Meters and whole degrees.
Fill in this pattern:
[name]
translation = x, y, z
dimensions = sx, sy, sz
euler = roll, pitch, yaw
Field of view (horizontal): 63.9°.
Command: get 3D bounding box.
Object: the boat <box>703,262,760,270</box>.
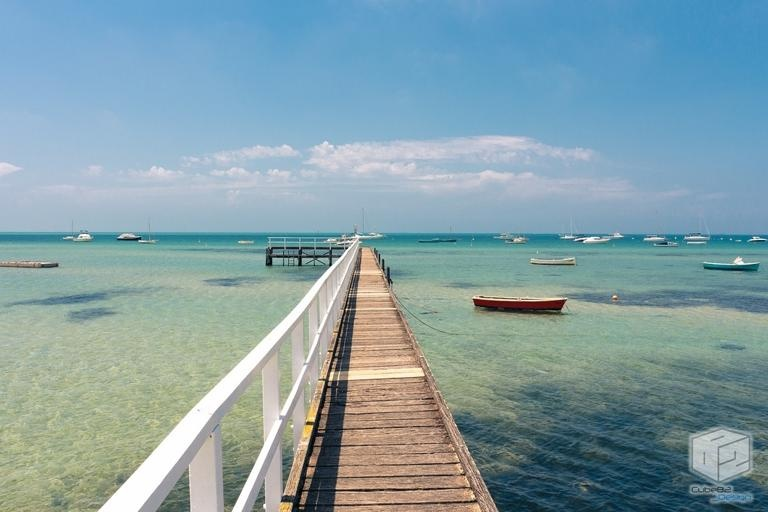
[boat]
translation = 35.172, 1.112, 63.377
dimensions = 3.054, 0.786, 4.420
euler = -3, 3, -40
